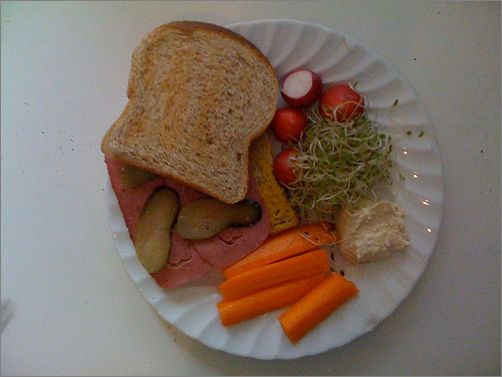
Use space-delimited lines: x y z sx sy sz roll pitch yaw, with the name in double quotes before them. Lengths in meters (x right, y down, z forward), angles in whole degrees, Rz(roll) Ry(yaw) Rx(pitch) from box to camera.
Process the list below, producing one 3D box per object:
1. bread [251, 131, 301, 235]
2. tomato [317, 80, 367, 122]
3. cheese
"bread" 0.127 0.034 2.678 0.165 0.156 0.662 -10 87 -8
"tomato" 0.487 -0.453 2.586 0.238 0.106 0.203 22 72 13
"cheese" 0.652 0.218 2.609 0.363 0.188 0.291 -18 68 -2
